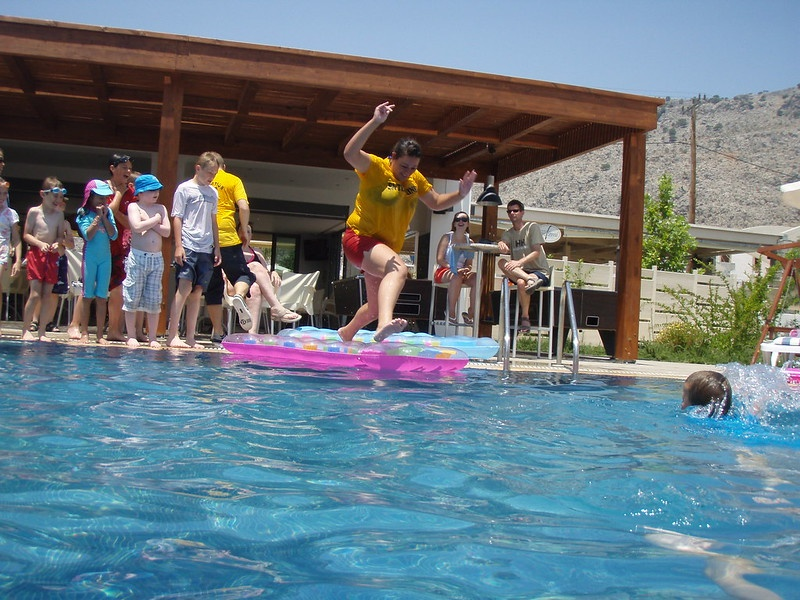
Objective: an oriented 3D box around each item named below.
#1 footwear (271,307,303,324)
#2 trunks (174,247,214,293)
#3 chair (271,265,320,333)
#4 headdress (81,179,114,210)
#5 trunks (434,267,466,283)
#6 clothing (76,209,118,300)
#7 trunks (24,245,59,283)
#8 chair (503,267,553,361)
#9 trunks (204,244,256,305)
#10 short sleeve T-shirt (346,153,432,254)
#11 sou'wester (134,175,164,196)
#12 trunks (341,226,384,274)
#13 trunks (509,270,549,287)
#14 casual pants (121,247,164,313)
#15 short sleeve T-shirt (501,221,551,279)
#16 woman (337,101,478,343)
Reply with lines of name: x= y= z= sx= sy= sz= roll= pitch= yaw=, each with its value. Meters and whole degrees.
footwear: x=-1.109 y=0.160 z=6.616 sx=0.330 sy=0.114 sz=0.170 roll=4 pitch=8 yaw=23
trunks: x=-1.940 y=-0.299 z=6.483 sx=0.339 sy=0.416 sz=0.244 roll=18 pitch=-25 yaw=-38
chair: x=-1.521 y=0.120 z=10.083 sx=0.647 sy=0.698 sz=0.598 roll=0 pitch=-10 yaw=-39
headdress: x=-2.890 y=-1.046 z=6.523 sx=0.292 sy=0.212 sz=0.376 roll=-28 pitch=5 yaw=-28
trunks: x=0.593 y=-0.313 z=8.928 sx=0.238 sy=0.085 sz=0.300 roll=5 pitch=-12 yaw=-40
clothing: x=-2.839 y=-0.447 z=6.459 sx=0.403 sy=1.062 sz=0.322 roll=-1 pitch=6 yaw=-33
trunks: x=-3.454 y=-0.351 z=6.627 sx=0.249 sy=0.374 sz=0.321 roll=8 pitch=5 yaw=25
chair: x=1.598 y=0.102 z=8.446 sx=0.493 sy=0.984 sz=0.431 roll=1 pitch=1 yaw=22
trunks: x=-1.733 y=-0.264 z=7.016 sx=0.714 sy=0.620 sz=0.265 roll=-1 pitch=11 yaw=-2
short sleeve T-shirt: x=-0.070 y=-0.729 z=5.213 sx=0.748 sy=0.662 sz=0.399 roll=7 pitch=16 yaw=-44
sou'wester: x=-2.393 y=-1.076 z=6.546 sx=0.213 sy=0.117 sz=0.244 roll=-5 pitch=2 yaw=-10
trunks: x=-0.250 y=-0.401 z=5.206 sx=0.227 sy=0.347 sz=0.207 roll=-18 pitch=2 yaw=-42
trunks: x=1.500 y=-0.265 z=7.657 sx=0.340 sy=0.083 sz=0.209 roll=10 pitch=30 yaw=34
casual pants: x=-2.446 y=-0.165 z=6.450 sx=0.410 sy=0.537 sz=0.334 roll=5 pitch=-2 yaw=-43
short sleeve T-shirt: x=1.425 y=-0.570 z=8.056 sx=0.570 sy=0.599 sz=0.443 roll=-6 pitch=-7 yaw=29
woman: x=-0.098 y=-0.495 z=5.035 sx=0.833 sy=1.577 sz=1.089 roll=3 pitch=-3 yaw=29
